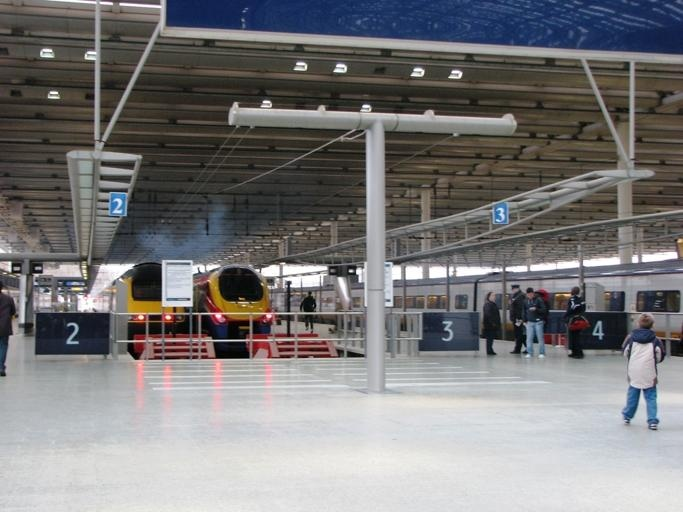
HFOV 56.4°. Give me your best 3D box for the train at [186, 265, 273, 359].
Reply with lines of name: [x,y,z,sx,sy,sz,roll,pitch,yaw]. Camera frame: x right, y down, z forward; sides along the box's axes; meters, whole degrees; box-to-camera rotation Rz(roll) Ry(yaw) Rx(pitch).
train: [-4.426,2.122,24.814,2.665,3.668,8.881,1,-3,-13]

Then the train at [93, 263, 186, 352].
train: [-7.442,1.994,23.871,2.146,3.684,6.980,1,-4,-16]

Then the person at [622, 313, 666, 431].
person: [4.387,1.643,9.334,0.567,1.604,0.884,-1,-4,22]
